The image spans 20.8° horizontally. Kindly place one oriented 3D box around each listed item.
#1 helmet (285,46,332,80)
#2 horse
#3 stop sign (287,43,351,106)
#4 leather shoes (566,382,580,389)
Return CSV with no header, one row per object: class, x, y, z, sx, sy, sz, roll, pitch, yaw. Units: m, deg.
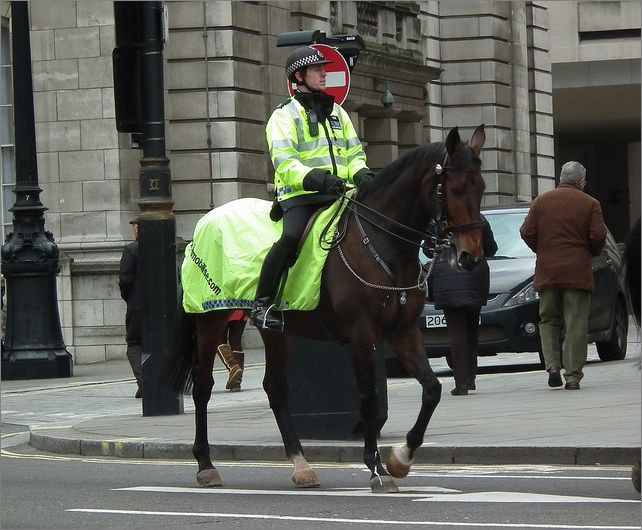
helmet,-0.141,-1.869,15.897,0.362,0.220,0.275,-15,-6,32
horse,0.087,0.459,15.839,3.752,3.274,1.131,-1,-2,43
stop sign,-0.025,-1.826,16.697,0.852,0.852,0.035,9,11,38
leather shoes,2.821,1.337,19.570,0.161,0.079,0.174,-2,3,6
